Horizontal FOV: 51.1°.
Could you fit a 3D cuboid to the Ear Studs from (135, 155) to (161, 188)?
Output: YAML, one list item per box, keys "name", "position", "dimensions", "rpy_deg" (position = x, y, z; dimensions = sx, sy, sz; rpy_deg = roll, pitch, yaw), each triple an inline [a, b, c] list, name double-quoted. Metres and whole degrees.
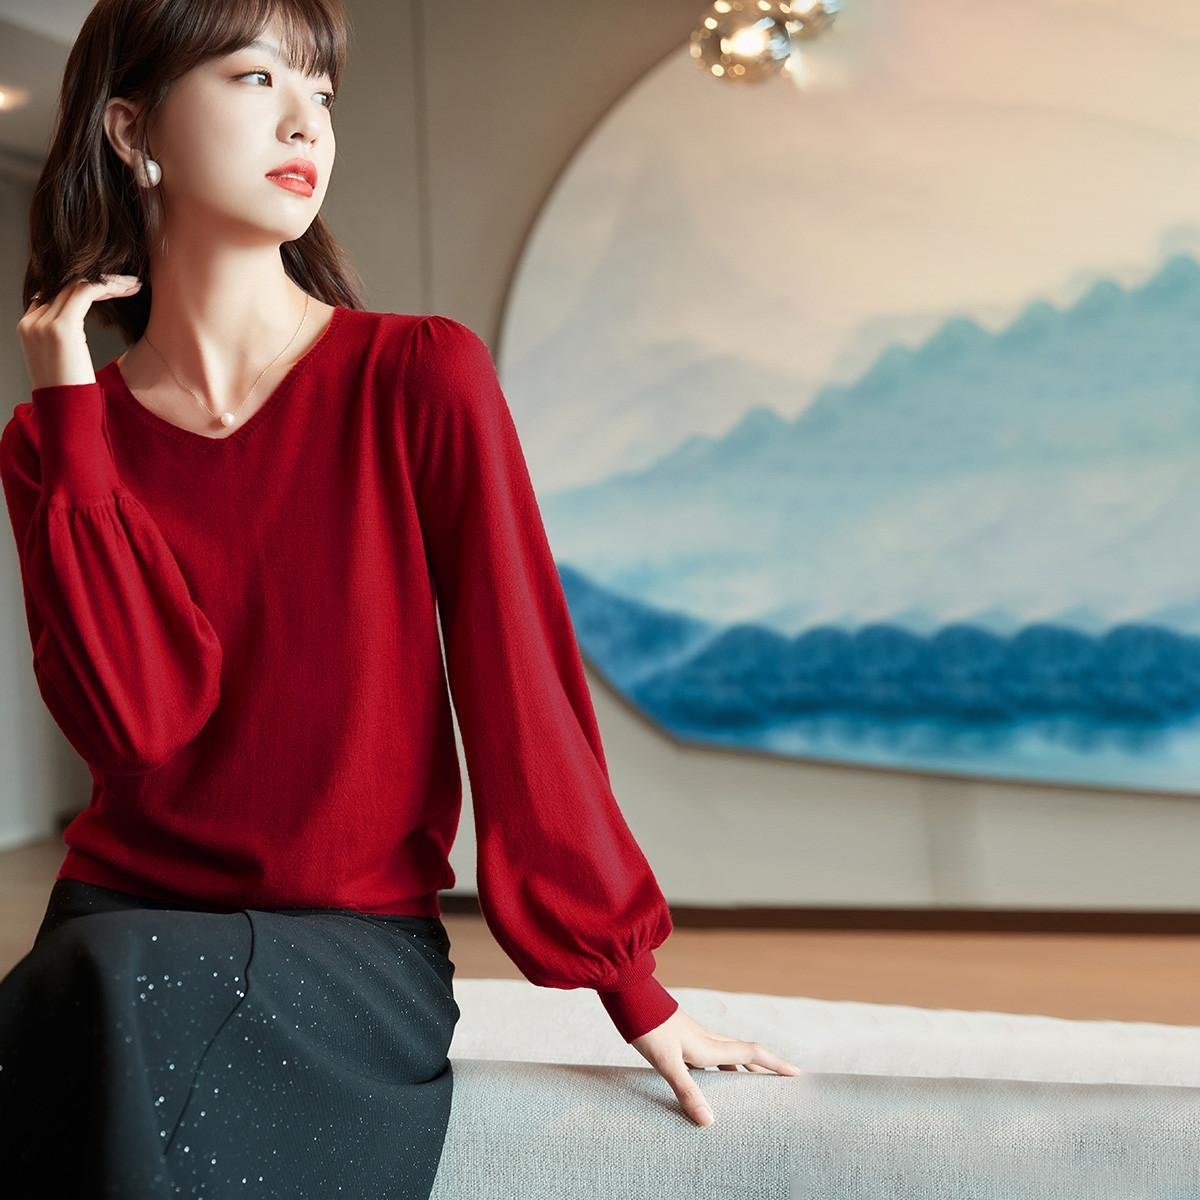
- name: "Ear Studs"
  position: [-0.383, -0.368, 1.066]
  dimensions: [0.030, 0.022, 0.006]
  rpy_deg: [-2, -6, 11]
